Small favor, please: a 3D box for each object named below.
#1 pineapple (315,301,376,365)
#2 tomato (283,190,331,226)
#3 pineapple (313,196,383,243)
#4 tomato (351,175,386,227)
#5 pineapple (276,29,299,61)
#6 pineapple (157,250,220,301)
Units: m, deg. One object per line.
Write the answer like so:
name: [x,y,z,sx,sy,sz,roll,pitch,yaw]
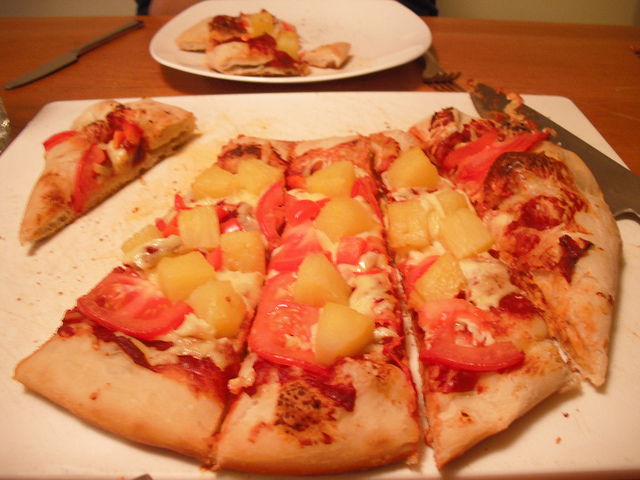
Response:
pineapple: [0.096,0.390,2.214,0.235,0.104,0.300,-4,46,14]
tomato: [-0.033,-0.159,2.740,0.269,0.251,0.072,11,80,-36]
pineapple: [0.116,-0.083,2.544,0.256,0.079,0.219,-29,49,-28]
tomato: [0.223,-0.203,2.721,0.060,0.188,0.233,-32,35,23]
pineapple: [-0.266,-1.263,3.713,0.078,0.228,0.202,4,94,-21]
pineapple: [-0.594,0.171,2.364,0.220,0.133,0.211,-19,45,-23]
